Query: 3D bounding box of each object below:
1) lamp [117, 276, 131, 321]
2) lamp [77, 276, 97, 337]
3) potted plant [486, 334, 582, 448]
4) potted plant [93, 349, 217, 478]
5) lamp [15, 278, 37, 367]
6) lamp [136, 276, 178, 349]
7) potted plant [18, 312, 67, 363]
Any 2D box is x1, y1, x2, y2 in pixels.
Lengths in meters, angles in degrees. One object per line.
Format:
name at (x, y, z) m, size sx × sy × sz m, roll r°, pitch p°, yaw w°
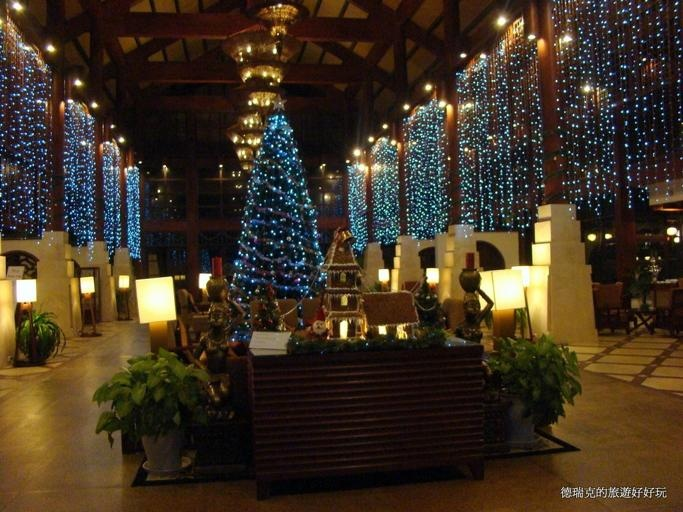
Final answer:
lamp at (-6.071, 1.139, 16.648) m, size 0.327 × 1.213 × 1.025 m, roll -3°, pitch 4°, yaw -21°
lamp at (-5.395, 1.050, 12.560) m, size 0.356 × 1.234 × 0.412 m, roll 4°, pitch -2°, yaw 20°
potted plant at (1.792, 1.218, 5.888) m, size 0.890 × 1.010 × 0.959 m, roll 1°, pitch -2°, yaw 2°
potted plant at (-1.711, 1.336, 5.581) m, size 0.975 × 1.001 × 1.039 m, roll 1°, pitch -4°, yaw -10°
lamp at (-4.948, 0.990, 9.388) m, size 0.265 × 1.288 × 0.285 m, roll 6°, pitch 6°, yaw 32°
lamp at (-1.870, 0.661, 6.085) m, size 0.384 × 1.027 × 0.359 m, roll -8°, pitch 20°, yaw -27°
potted plant at (-4.813, 1.297, 9.530) m, size 0.698 × 0.950 × 0.730 m, roll 3°, pitch -3°, yaw -28°
